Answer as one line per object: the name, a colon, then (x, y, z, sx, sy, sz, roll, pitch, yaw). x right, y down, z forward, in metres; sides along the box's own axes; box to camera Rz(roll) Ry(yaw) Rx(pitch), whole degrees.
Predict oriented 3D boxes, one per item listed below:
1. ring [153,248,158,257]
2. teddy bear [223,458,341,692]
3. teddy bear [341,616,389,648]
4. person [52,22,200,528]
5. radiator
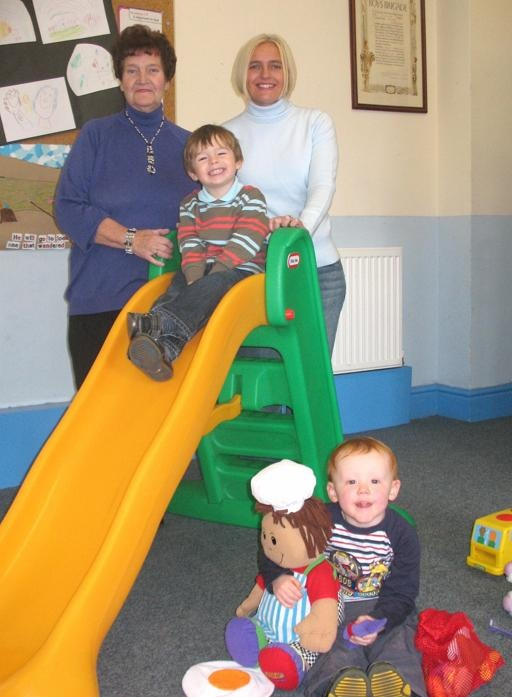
ring: (-0.257, -0.246, 1.549, 0.010, 0.014, 0.004, -5, 18, -15)
teddy bear: (0.040, 0.402, 1.059, 0.209, 0.376, 0.180, -1, 6, 7)
teddy bear: (0.182, 0.476, 1.003, 0.072, 0.052, 0.043, -1, 6, 7)
person: (-0.355, -0.267, 1.754, 0.403, 1.174, 0.352, -7, 31, -31)
radiator: (0.507, -0.169, 2.783, 0.623, 0.625, 0.041, -7, 11, -30)
